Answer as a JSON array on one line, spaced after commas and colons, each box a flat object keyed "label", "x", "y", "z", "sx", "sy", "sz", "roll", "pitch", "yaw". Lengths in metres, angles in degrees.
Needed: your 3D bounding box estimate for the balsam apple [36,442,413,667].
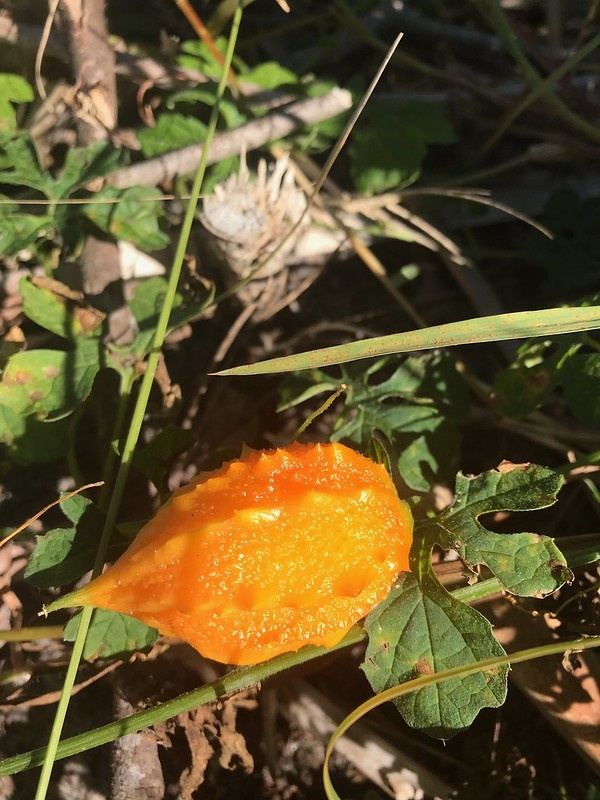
[{"label": "balsam apple", "x": -0.065, "y": 0.188, "z": 0.949, "sx": 0.431, "sy": 0.168, "sz": 0.242, "roll": -14, "pitch": 61, "yaw": -10}]
